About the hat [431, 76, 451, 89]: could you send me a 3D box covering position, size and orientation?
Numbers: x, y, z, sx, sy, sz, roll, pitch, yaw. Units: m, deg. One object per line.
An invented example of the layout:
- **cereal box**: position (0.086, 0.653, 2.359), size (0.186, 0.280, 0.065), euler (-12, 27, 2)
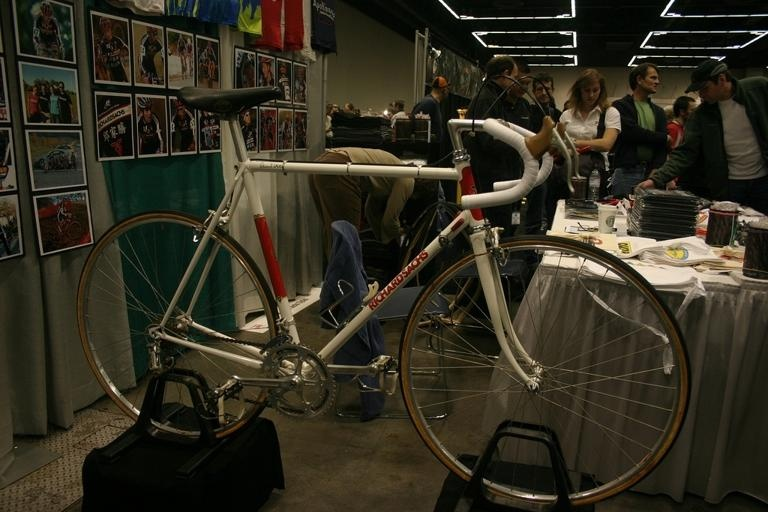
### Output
- **hat**: position (0.572, -1.766, 6.067), size (0.114, 0.093, 0.181), euler (3, 52, 31)

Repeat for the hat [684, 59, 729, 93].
- **hat**: position (2.359, -1.337, 4.400), size (0.324, 0.180, 0.215), euler (-27, 6, 18)

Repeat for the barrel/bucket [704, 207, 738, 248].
- **barrel/bucket**: position (1.845, -0.149, 3.261), size (0.203, 0.231, 0.127), euler (1, 5, 14)
